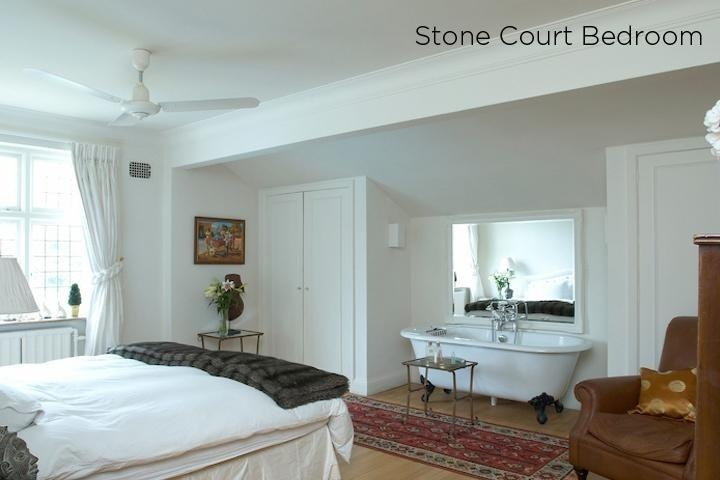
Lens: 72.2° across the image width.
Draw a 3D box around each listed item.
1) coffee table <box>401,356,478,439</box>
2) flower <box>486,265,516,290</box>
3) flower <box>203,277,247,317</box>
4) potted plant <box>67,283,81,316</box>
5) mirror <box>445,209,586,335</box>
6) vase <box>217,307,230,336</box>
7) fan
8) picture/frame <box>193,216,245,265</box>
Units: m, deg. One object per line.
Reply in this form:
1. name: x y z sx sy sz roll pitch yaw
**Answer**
1. coffee table: 0.877 1.626 5.380 0.822 0.744 0.737 5 -9 -41
2. flower: 1.672 0.450 5.932 0.269 0.274 0.266 -6 -7 25
3. flower: -1.782 0.815 6.634 0.608 0.608 0.421 -5 12 -35
4. potted plant: -3.348 0.706 5.802 0.138 0.386 0.233 -4 12 -28
5. mirror: 1.904 0.396 5.908 1.568 1.304 0.106 -1 -3 37
6. vase: -1.767 1.058 6.376 0.124 0.321 0.243 -1 11 -16
7. fan: -1.699 -1.153 4.087 0.958 0.342 0.961 -6 -8 36
8. picture/frame: -1.937 0.018 6.658 0.049 0.568 0.671 1 2 43
